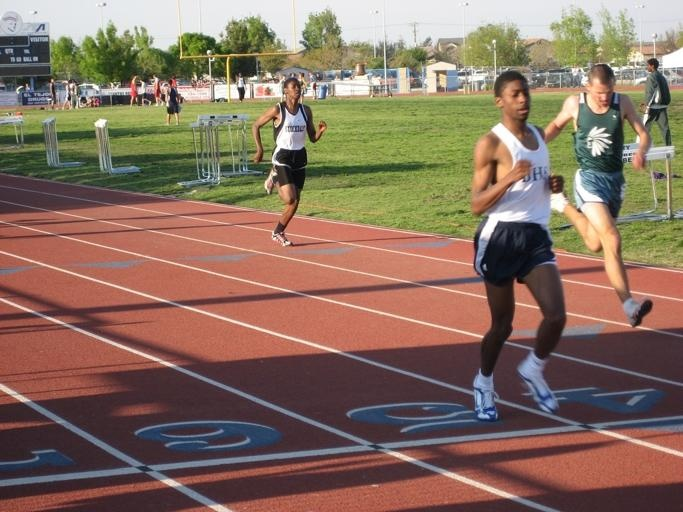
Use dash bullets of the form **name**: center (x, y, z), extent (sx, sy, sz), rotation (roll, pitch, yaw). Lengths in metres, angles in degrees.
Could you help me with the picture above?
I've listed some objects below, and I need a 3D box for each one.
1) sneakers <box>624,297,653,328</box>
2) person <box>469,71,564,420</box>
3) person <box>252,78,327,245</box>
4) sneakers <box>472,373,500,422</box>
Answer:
- **sneakers**: center (2.294, 0.429, 5.045), extent (0.125, 0.157, 0.334), rotation (-34, -26, -10)
- **person**: center (1.103, -0.026, 4.021), extent (0.566, 2.171, 0.462), rotation (1, 16, 12)
- **person**: center (-0.705, -1.288, 8.836), extent (0.791, 2.221, 0.853), rotation (-12, 18, -32)
- **sneakers**: center (0.915, 0.915, 4.197), extent (0.136, 0.323, 0.158), rotation (-8, -5, -4)
